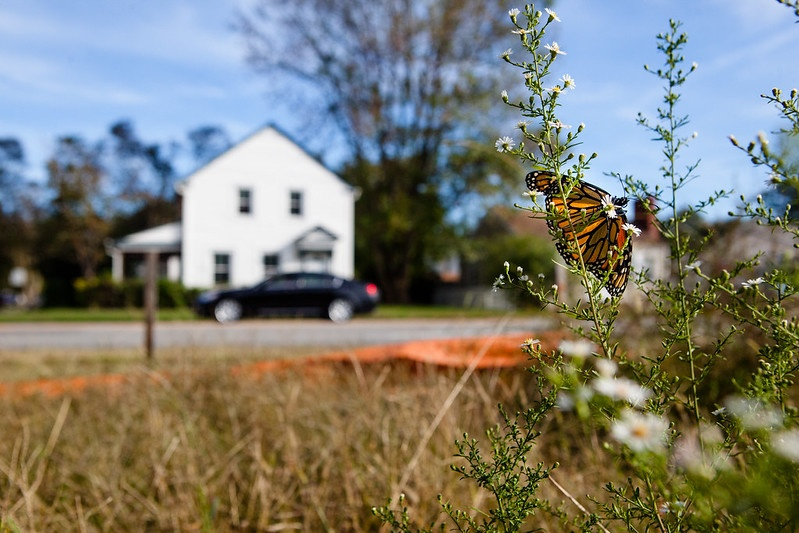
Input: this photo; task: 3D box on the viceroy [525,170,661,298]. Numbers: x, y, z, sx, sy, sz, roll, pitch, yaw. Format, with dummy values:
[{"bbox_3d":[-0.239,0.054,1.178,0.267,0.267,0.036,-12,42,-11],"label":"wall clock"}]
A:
[{"bbox_3d":[0.707,-0.138,4.114,0.403,0.498,0.520,-2,1,7],"label":"viceroy"}]
